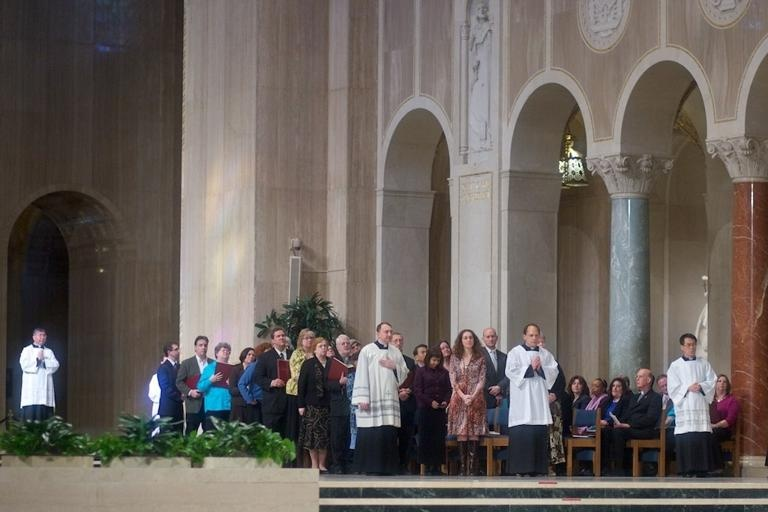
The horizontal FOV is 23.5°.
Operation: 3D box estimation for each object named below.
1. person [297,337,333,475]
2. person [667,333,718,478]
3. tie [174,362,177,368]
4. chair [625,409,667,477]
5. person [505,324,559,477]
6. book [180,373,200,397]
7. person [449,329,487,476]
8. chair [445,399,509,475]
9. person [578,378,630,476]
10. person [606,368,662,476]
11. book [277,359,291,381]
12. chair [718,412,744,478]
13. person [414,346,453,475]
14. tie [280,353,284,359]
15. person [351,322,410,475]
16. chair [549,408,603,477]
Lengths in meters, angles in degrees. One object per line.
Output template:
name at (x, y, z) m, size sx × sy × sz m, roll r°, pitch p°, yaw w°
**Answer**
person at (-1.271, 2.344, 32.691) m, size 0.581 × 1.906 × 0.476 m, roll -1°, pitch -10°, yaw -3°
person at (5.422, 2.553, 32.523) m, size 0.822 × 2.504 × 0.627 m, roll -3°, pitch -12°, yaw 11°
tie at (-3.920, 1.918, 34.152) m, size 0.065 × 0.086 × 0.031 m, roll 5°, pitch -14°, yaw 0°
chair at (4.625, 3.228, 32.609) m, size 0.690 × 1.178 × 0.498 m, roll -3°, pitch -10°, yaw 12°
person at (2.543, 2.439, 32.228) m, size 0.874 × 2.582 × 0.484 m, roll -2°, pitch -10°, yaw 3°
book at (-3.562, 2.292, 33.595) m, size 0.353 × 0.278 × 0.299 m, roll -9°, pitch -13°, yaw 31°
person at (1.423, 2.469, 32.348) m, size 0.635 × 2.459 × 0.662 m, roll 7°, pitch -13°, yaw -39°
chair at (1.599, 3.141, 32.871) m, size 0.946 × 1.325 × 0.874 m, roll 3°, pitch -5°, yaw 26°
person at (4.018, 3.090, 33.303) m, size 0.756 × 1.974 × 1.032 m, roll 8°, pitch 11°, yaw 14°
person at (4.432, 2.878, 33.006) m, size 0.961 × 1.910 × 0.826 m, roll 1°, pitch -3°, yaw -9°
book at (-1.834, 1.948, 32.883) m, size 0.302 × 0.317 × 0.072 m, roll 2°, pitch 2°, yaw -35°
chair at (6.132, 3.280, 32.712) m, size 0.345 × 1.033 × 0.384 m, roll 6°, pitch -13°, yaw -37°
person at (0.840, 2.584, 32.630) m, size 0.652 × 1.964 × 0.457 m, roll -1°, pitch -10°, yaw 0°
tie at (-1.888, 1.707, 33.164) m, size 0.095 × 0.100 × 0.024 m, roll 5°, pitch -8°, yaw -5°
person at (-0.132, 2.422, 32.333) m, size 0.924 × 2.596 × 0.579 m, roll -1°, pitch -10°, yaw -2°
chair at (3.513, 3.190, 32.646) m, size 0.902 × 1.055 × 0.918 m, roll -2°, pitch 0°, yaw -22°
